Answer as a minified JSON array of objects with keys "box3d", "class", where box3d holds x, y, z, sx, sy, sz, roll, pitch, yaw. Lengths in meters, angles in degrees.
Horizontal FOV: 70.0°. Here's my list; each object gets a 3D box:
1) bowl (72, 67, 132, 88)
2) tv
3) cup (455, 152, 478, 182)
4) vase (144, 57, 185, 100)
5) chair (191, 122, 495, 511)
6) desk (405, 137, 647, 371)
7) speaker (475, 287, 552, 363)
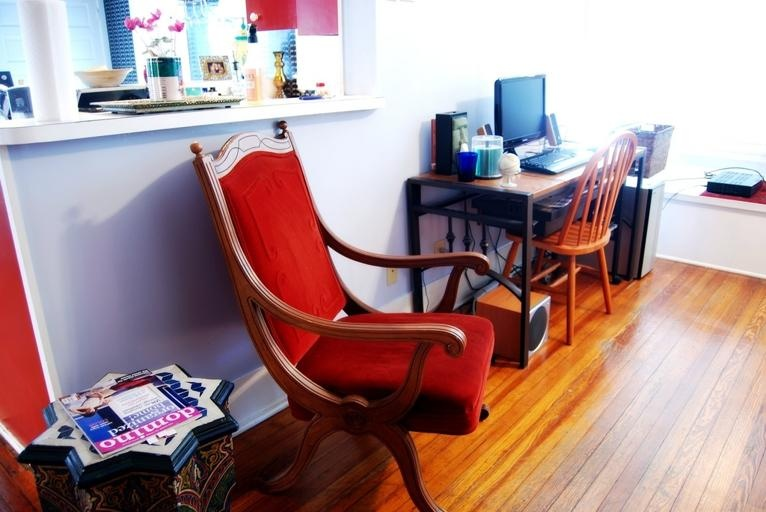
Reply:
[{"box3d":[-1.191,-0.761,2.337,0.196,0.079,0.195,-2,19,1],"class":"bowl"},{"box3d":[0.822,-0.875,3.347,0.165,0.407,0.563,10,33,39],"class":"tv"},{"box3d":[0.425,-0.491,3.011,0.142,0.159,0.144,-7,26,3],"class":"cup"},{"box3d":[-0.850,-0.689,2.167,0.163,0.187,0.161,-1,15,-8],"class":"vase"},{"box3d":[-0.102,0.219,2.190,1.041,1.419,0.669,6,21,21],"class":"chair"},{"box3d":[0.764,-0.024,3.020,0.434,0.665,1.211,12,26,32],"class":"desk"},{"box3d":[0.721,0.374,3.096,0.423,0.319,0.417,-1,18,-1],"class":"speaker"}]
